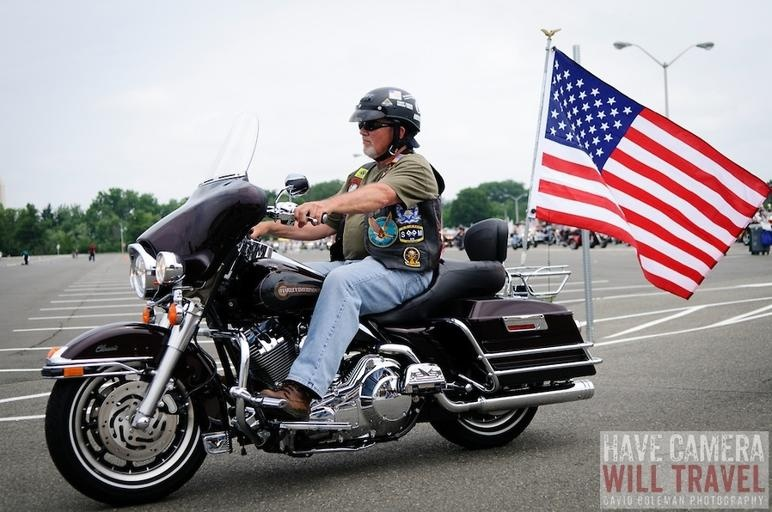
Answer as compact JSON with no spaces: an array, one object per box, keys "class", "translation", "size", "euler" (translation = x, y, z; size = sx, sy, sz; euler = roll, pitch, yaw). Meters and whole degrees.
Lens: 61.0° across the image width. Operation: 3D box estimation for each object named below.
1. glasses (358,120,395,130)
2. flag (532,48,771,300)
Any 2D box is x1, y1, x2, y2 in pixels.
[{"class":"glasses","translation":[-0.076,-1.091,5.464],"size":[0.173,0.055,0.158],"euler":[-3,3,-24]},{"class":"flag","translation":[2.783,-1.047,7.240],"size":[2.180,2.990,1.155],"euler":[0,4,30]}]
